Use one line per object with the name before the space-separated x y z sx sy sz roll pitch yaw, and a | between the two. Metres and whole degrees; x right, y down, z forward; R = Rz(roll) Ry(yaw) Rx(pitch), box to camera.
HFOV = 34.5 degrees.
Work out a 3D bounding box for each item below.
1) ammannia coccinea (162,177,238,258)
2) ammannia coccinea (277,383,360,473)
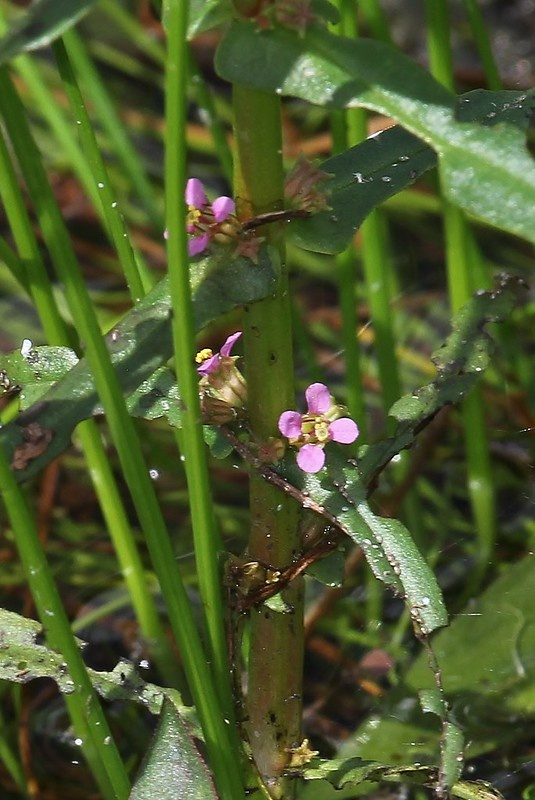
ammannia coccinea | -0.038 -0.119 0.560 0.039 0.043 0.069 -17 25 1
ammannia coccinea | 0.032 0.017 0.589 0.028 0.061 0.067 -10 -13 37
